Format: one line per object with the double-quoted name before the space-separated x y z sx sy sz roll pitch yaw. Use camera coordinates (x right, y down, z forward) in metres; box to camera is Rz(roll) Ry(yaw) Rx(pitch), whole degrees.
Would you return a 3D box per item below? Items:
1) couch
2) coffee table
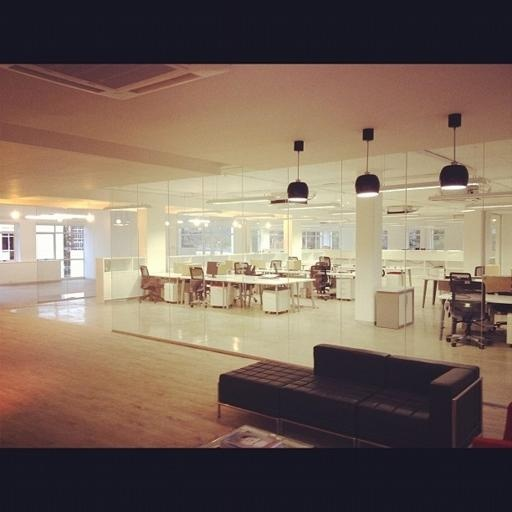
"couch" 0.827 1.242 3.918 1.997 0.703 0.749 -1 4 29
"coffee table" 0.039 1.442 3.557 0.816 0.100 0.440 -1 4 21
